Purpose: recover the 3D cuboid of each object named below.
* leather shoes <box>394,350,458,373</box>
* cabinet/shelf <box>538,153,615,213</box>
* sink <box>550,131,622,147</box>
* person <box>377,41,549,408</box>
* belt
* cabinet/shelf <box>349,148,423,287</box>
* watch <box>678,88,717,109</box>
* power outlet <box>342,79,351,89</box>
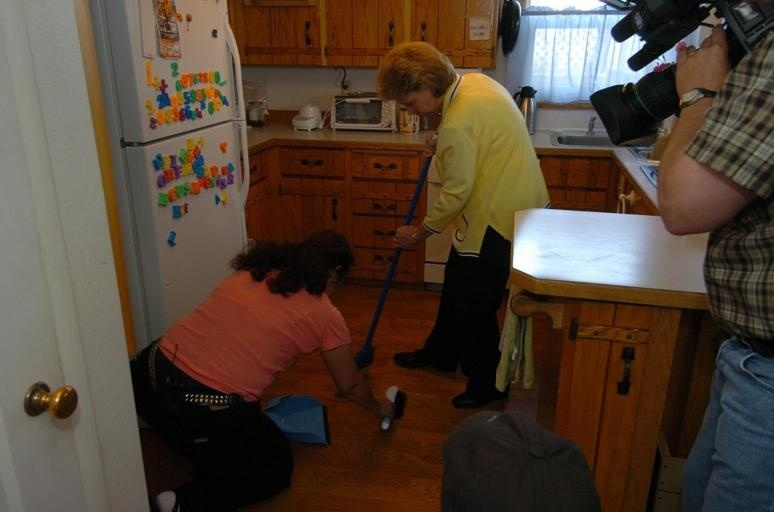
[{"bbox_3d":[0.223,0.582,3.085,0.290,0.121,0.096,8,28,18],"label":"leather shoes"},{"bbox_3d":[1.192,-0.499,3.768,0.522,0.483,0.352,2,25,8],"label":"cabinet/shelf"},{"bbox_3d":[1.338,-0.844,4.086,0.591,0.086,0.322,-8,19,-27],"label":"sink"},{"bbox_3d":[0.413,-0.132,2.843,0.872,1.702,0.702,9,18,34],"label":"person"},{"bbox_3d":[-0.712,0.429,2.129,0.254,0.061,0.232,35,-7,-26],"label":"belt"},{"bbox_3d":[0.032,-0.342,4.084,0.569,0.999,0.540,2,27,4],"label":"cabinet/shelf"},{"bbox_3d":[0.661,-0.332,1.211,0.049,0.019,0.038,-12,4,44],"label":"watch"},{"bbox_3d":[-0.316,-1.325,4.357,0.081,0.074,0.019,2,-1,7],"label":"power outlet"}]
